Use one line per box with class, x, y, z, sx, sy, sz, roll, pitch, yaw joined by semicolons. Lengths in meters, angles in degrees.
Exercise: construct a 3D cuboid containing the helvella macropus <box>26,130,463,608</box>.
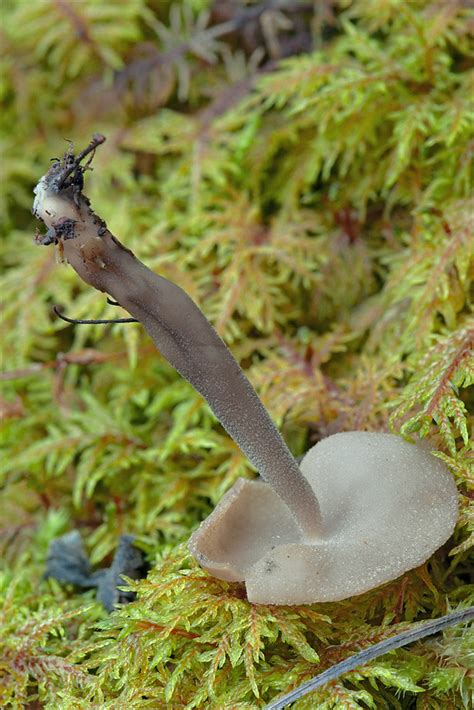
helvella macropus;0.000;0.025;0.760;0.346;0.548;0.265;-16;34;14
